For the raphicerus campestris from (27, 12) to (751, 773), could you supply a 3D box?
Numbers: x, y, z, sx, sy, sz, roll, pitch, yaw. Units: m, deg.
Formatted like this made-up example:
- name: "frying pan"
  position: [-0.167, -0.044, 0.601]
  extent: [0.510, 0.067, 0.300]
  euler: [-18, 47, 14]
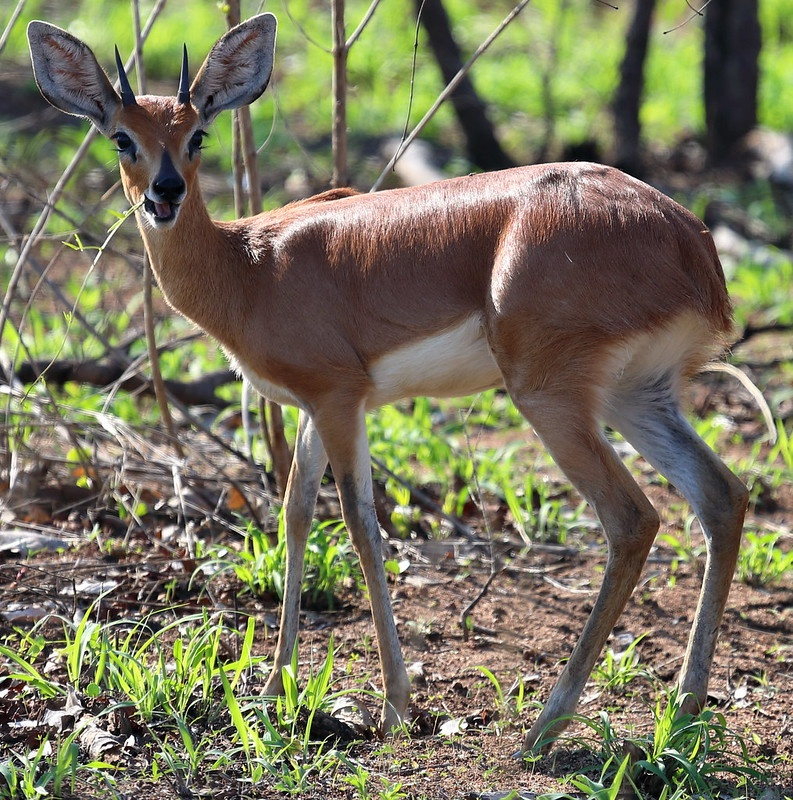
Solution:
- name: "raphicerus campestris"
  position: [0.056, -0.106, 3.492]
  extent: [2.161, 2.284, 0.878]
  euler: [8, 13, 21]
